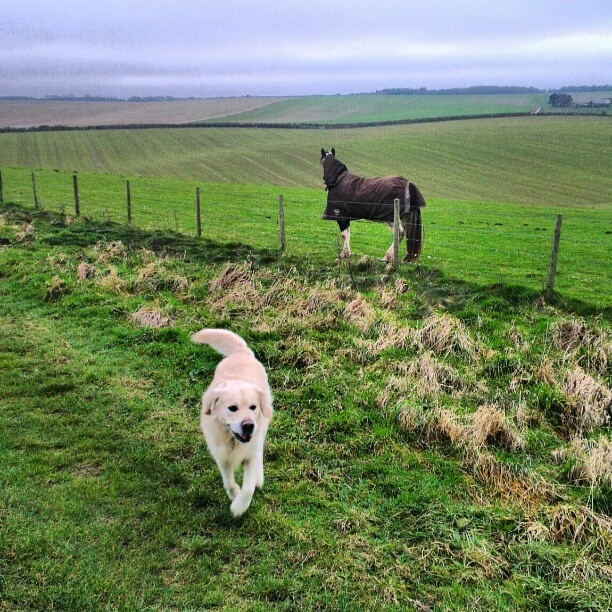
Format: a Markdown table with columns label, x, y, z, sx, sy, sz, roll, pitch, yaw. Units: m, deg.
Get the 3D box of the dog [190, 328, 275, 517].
| label | x | y | z | sx | sy | sz | roll | pitch | yaw |
| --- | --- | --- | --- | --- | --- | --- | --- | --- | --- |
| dog | -0.766 | 1.501 | 9.034 | 0.760 | 1.463 | 1.151 | -1 | 14 | -2 |
